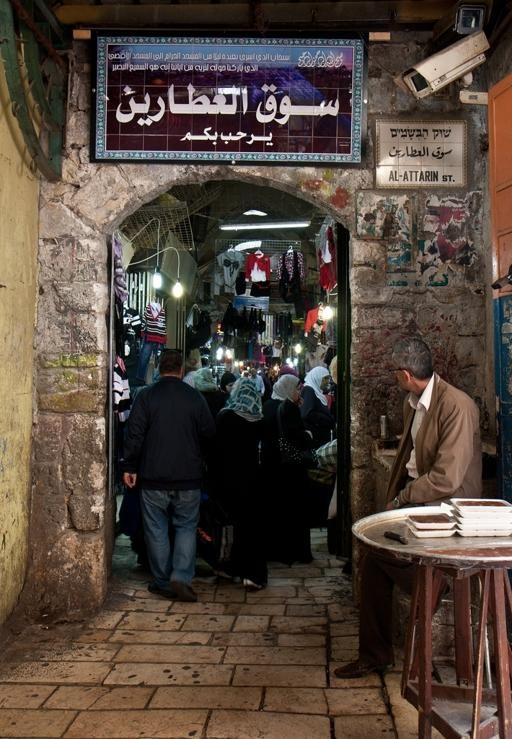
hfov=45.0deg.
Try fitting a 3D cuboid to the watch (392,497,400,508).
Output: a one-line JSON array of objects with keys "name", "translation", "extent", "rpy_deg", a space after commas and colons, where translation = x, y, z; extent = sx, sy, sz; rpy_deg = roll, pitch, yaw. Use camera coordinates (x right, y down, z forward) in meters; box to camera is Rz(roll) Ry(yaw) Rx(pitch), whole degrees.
[{"name": "watch", "translation": [0.641, 0.610, 2.821], "extent": [0.016, 0.046, 0.034], "rpy_deg": [3, -4, -9]}]

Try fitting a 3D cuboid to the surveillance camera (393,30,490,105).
[{"name": "surveillance camera", "translation": [1.054, -1.671, 3.405], "extent": [0.460, 0.481, 0.315], "rpy_deg": [0, 0, 1]}]

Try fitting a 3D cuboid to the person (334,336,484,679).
[{"name": "person", "translation": [0.555, 0.633, 2.990], "extent": [0.565, 1.823, 1.001], "rpy_deg": [0, 0, 26]}]

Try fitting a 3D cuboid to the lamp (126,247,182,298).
[{"name": "lamp", "translation": [-1.299, -1.245, 7.985], "extent": [0.556, 0.688, 0.620], "rpy_deg": [2, 7, 6]}]

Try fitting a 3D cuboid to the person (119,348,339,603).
[{"name": "person", "translation": [-0.567, 0.679, 4.253], "extent": [0.564, 1.630, 0.633], "rpy_deg": [0, 0, -2]}]
